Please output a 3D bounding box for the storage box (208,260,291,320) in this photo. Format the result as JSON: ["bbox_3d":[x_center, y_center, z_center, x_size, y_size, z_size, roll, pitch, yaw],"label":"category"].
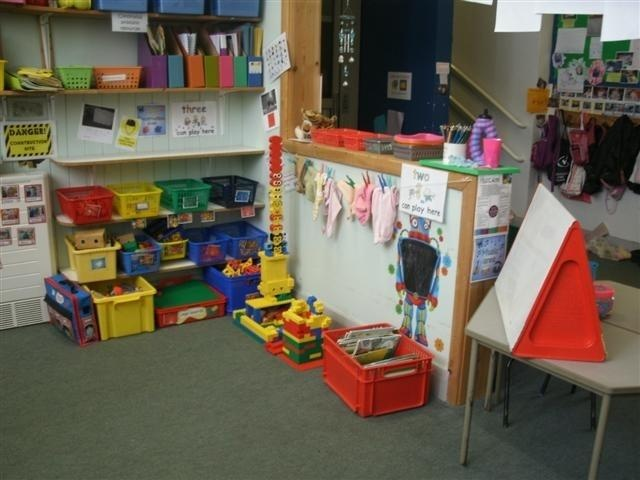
[{"bbox_3d":[-0.732,0.413,4.261,0.314,0.279,0.454,-5,14,-33],"label":"storage box"}]

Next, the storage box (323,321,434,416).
[{"bbox_3d":[0.317,0.718,3.097,0.515,0.322,0.521,-2,14,-21],"label":"storage box"}]

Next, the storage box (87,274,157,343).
[{"bbox_3d":[-1.502,0.526,3.912,0.513,0.339,0.445,-7,15,-33],"label":"storage box"}]

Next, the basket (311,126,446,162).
[{"bbox_3d":[0.392,-0.655,3.398,0.757,0.107,0.413,18,23,39],"label":"basket"}]

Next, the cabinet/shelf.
[{"bbox_3d":[-1.443,-0.776,3.925,1.969,1.795,0.511,-12,21,-34],"label":"cabinet/shelf"}]

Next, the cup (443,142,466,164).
[{"bbox_3d":[0.781,-0.504,2.898,0.132,0.111,0.192,3,19,14],"label":"cup"}]

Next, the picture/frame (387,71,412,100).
[{"bbox_3d":[0.790,-1.524,4.921,0.144,0.277,0.279,-11,18,-36],"label":"picture/frame"}]

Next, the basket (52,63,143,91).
[{"bbox_3d":[-1.601,-1.174,3.653,0.397,0.131,0.270,-3,9,-24],"label":"basket"}]

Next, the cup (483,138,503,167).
[{"bbox_3d":[0.957,-0.487,2.802,0.088,0.154,0.077,4,19,16],"label":"cup"}]
